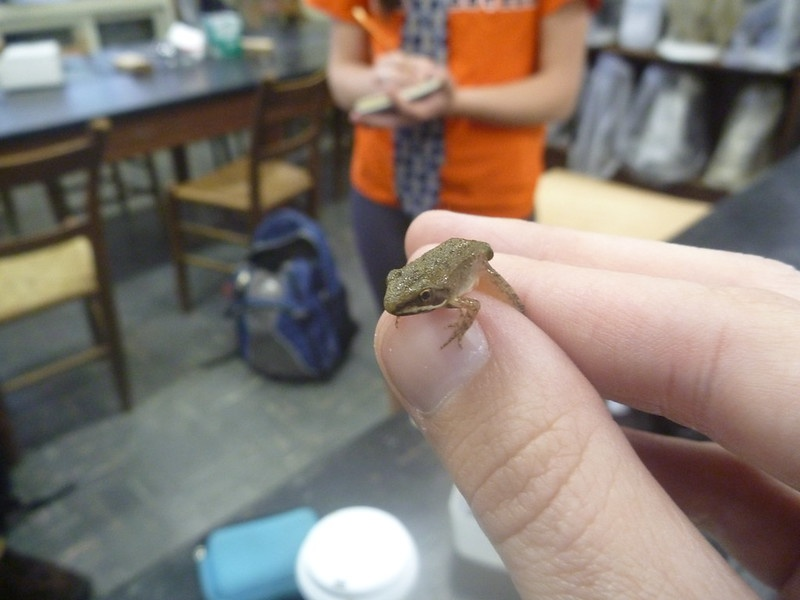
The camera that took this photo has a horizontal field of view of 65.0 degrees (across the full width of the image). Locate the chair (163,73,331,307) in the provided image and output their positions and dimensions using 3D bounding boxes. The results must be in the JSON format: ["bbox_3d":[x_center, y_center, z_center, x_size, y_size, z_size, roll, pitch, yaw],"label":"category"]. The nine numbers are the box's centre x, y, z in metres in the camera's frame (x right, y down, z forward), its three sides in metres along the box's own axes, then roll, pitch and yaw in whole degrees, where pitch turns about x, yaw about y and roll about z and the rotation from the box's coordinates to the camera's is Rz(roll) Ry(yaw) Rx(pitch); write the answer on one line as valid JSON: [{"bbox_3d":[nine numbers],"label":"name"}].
[{"bbox_3d":[-0.292,-0.139,1.198,0.247,0.485,0.284,18,34,24],"label":"chair"}]

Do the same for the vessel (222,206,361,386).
[{"bbox_3d":[-0.154,-0.006,1.329,0.200,0.334,0.329,-4,19,3],"label":"vessel"}]

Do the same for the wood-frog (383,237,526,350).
[{"bbox_3d":[0.073,-0.046,1.173,0.234,0.191,0.236,12,21,32],"label":"wood-frog"}]
